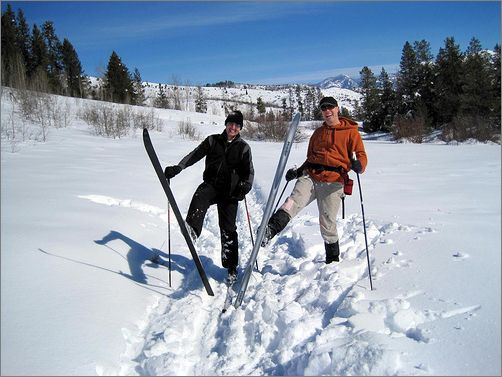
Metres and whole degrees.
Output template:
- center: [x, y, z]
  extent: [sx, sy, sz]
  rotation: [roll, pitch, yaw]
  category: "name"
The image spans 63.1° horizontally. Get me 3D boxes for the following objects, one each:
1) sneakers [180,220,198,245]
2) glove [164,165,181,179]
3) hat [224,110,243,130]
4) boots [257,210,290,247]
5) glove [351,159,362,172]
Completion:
- center: [-0.847, 0.607, 5.607]
  extent: [0.070, 0.428, 0.092]
  rotation: [-23, -12, 40]
  category: "sneakers"
- center: [-1.139, -0.222, 5.919]
  extent: [0.239, 0.110, 0.151]
  rotation: [-26, 23, -35]
  category: "glove"
- center: [-0.252, -1.037, 6.155]
  extent: [0.210, 0.228, 0.287]
  rotation: [32, -1, -4]
  category: "hat"
- center: [0.331, 0.484, 5.571]
  extent: [0.212, 0.662, 0.284]
  rotation: [36, -9, -8]
  category: "boots"
- center: [1.463, -0.298, 5.634]
  extent: [0.160, 0.204, 0.276]
  rotation: [1, 9, 14]
  category: "glove"
